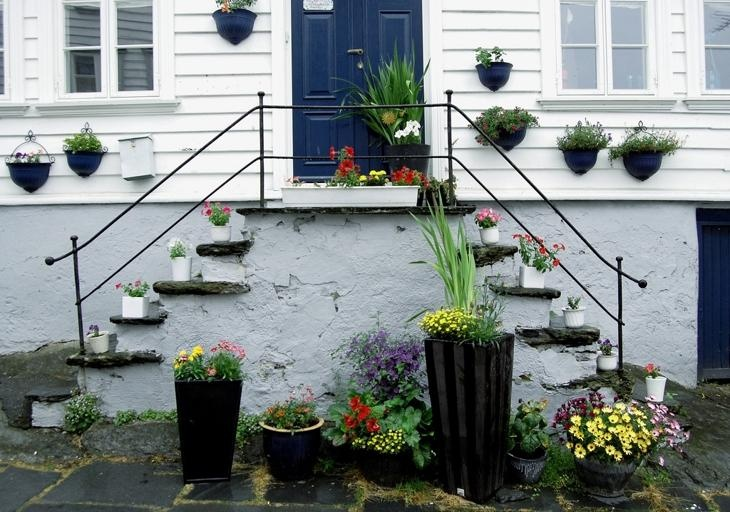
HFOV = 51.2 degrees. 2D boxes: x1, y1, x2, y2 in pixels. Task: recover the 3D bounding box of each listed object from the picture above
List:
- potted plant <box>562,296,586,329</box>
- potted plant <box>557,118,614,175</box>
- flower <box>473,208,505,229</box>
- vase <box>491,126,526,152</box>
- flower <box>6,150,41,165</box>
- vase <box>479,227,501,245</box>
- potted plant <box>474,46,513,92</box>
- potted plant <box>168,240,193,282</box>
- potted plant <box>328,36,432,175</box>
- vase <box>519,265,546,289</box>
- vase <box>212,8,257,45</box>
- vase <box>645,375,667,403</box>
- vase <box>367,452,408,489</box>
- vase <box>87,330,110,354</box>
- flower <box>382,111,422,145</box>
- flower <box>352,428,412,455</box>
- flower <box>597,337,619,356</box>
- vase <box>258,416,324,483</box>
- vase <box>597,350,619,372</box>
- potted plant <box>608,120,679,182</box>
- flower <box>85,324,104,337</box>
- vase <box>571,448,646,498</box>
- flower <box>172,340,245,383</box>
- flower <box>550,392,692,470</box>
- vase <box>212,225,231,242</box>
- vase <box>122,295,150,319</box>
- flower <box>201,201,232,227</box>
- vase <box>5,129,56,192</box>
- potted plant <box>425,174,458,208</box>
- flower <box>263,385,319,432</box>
[{"bbox_3d":[1.963,0.534,7.329,0.293,0.376,0.290,0,-1,-1],"label":"potted plant"},{"bbox_3d":[2.300,-1.153,8.102,0.555,0.627,0.527,5,7,40],"label":"potted plant"},{"bbox_3d":[1.186,-0.366,7.515,0.205,0.161,0.219,1,4,7],"label":"flower"},{"bbox_3d":[1.552,-1.245,8.105,0.244,0.190,0.237,-8,7,-30],"label":"vase"},{"bbox_3d":[-3.686,-1.053,8.209,0.423,0.119,0.198,-2,11,4],"label":"flower"},{"bbox_3d":[1.215,-0.197,7.492,0.143,0.137,0.172,-1,1,-2],"label":"vase"},{"bbox_3d":[1.322,-2.005,8.258,0.372,0.461,0.449,-1,5,-6],"label":"potted plant"},{"bbox_3d":[-1.820,0.023,7.537,0.189,0.400,0.420,-5,11,-14],"label":"potted plant"},{"bbox_3d":[0.269,-1.595,8.577,1.307,1.574,1.088,1,3,3],"label":"potted plant"},{"bbox_3d":[1.574,0.201,7.293,0.205,0.166,0.211,1,-1,-4],"label":"vase"},{"bbox_3d":[-1.393,-2.465,8.135,0.363,0.248,0.340,0,-1,5],"label":"vase"},{"bbox_3d":[2.726,1.245,7.146,0.238,0.254,0.245,1,-6,3],"label":"vase"},{"bbox_3d":[0.205,1.865,6.759,0.302,0.226,0.303,1,-6,-4],"label":"vase"},{"bbox_3d":[-2.571,0.833,7.390,0.196,0.153,0.201,0,-2,-5],"label":"vase"},{"bbox_3d":[0.398,-1.377,8.145,0.374,0.399,0.386,-4,-10,19],"label":"flower"},{"bbox_3d":[0.116,1.629,6.702,0.379,0.233,0.146,-2,-43,2],"label":"flower"},{"bbox_3d":[2.345,0.881,7.415,0.221,0.170,0.208,0,6,-6],"label":"flower"},{"bbox_3d":[-0.687,1.756,7.048,0.610,0.494,0.650,1,4,15],"label":"vase"},{"bbox_3d":[2.266,0.978,7.158,0.165,0.127,0.169,-1,0,-5],"label":"vase"},{"bbox_3d":[2.963,-1.096,8.194,0.628,0.567,0.608,0,2,-3],"label":"potted plant"},{"bbox_3d":[-2.632,0.727,7.408,0.195,0.141,0.201,1,-4,0],"label":"flower"},{"bbox_3d":[2.141,1.911,6.794,0.638,0.360,0.654,-1,-2,29],"label":"vase"},{"bbox_3d":[-1.396,0.977,7.001,0.436,0.213,0.436,0,0,-6],"label":"flower"},{"bbox_3d":[2.240,1.534,6.738,0.845,0.392,0.743,-2,-6,17],"label":"flower"},{"bbox_3d":[-1.394,-0.222,7.402,0.155,0.121,0.159,0,2,-8],"label":"vase"},{"bbox_3d":[-2.210,0.492,7.378,0.203,0.211,0.216,-1,-4,3],"label":"vase"},{"bbox_3d":[-1.467,-0.405,7.534,0.201,0.291,0.290,0,1,38],"label":"flower"},{"bbox_3d":[-3.593,-1.011,8.256,0.612,0.837,0.445,-1,-4,-6],"label":"vase"},{"bbox_3d":[0.767,-0.668,7.725,0.334,0.333,0.298,0,0,-10],"label":"potted plant"},{"bbox_3d":[-0.667,1.423,7.010,0.337,0.280,0.400,0,3,21],"label":"flower"}]
